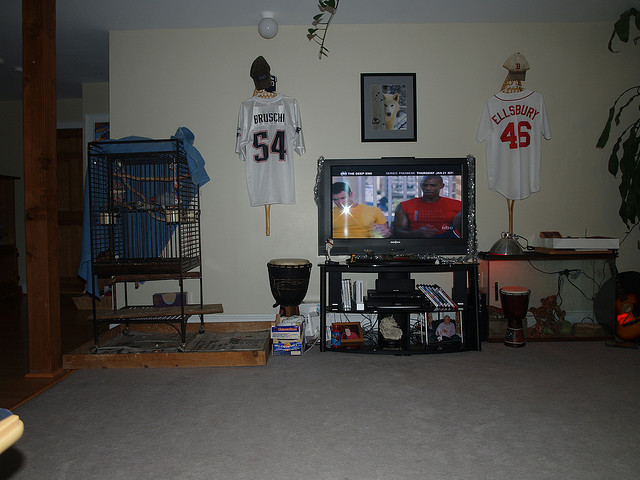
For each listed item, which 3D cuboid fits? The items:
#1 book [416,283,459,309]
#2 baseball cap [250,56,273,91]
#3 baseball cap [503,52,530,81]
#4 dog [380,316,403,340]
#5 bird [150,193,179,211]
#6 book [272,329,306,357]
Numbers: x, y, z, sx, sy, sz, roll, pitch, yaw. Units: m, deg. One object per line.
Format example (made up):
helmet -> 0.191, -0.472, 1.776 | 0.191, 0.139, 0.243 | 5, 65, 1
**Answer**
book -> 1.125, 0.540, 4.988 | 0.305, 0.189, 0.379 | -3, 2, -12
baseball cap -> -0.596, -1.651, 5.274 | 0.201, 0.332, 0.096 | -13, 8, 8
baseball cap -> 1.984, -1.737, 5.363 | 0.201, 0.290, 0.156 | 3, -27, 8
dog -> 0.656, 0.829, 4.872 | 0.196, 0.201, 0.114 | -2, 2, -6
bird -> -1.426, -0.341, 4.829 | 0.251, 0.166, 0.040 | -3, 4, -9
book -> -0.298, 0.989, 4.910 | 0.308, 0.179, 0.193 | -2, 2, -6
